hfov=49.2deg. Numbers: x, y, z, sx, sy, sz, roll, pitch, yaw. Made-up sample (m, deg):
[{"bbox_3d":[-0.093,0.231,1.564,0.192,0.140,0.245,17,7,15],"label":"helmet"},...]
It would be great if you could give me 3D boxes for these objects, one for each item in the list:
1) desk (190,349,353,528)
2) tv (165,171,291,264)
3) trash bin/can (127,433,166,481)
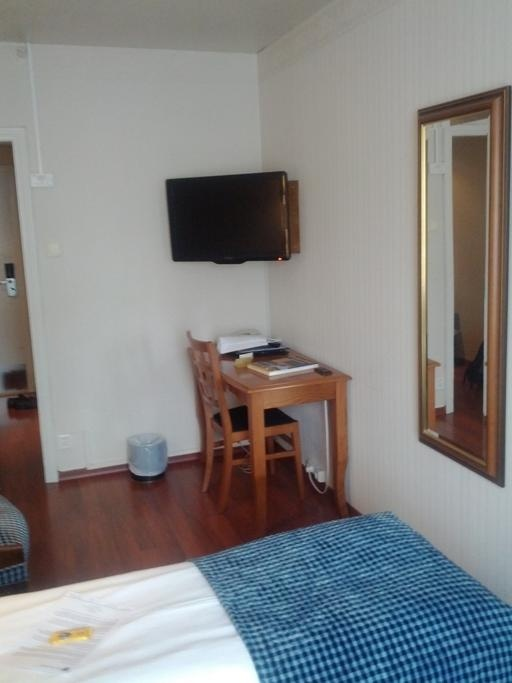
[{"bbox_3d":[0.009,0.266,3.062,0.704,1.092,1.179,-6,12,-23],"label":"desk"},{"bbox_3d":[-0.144,-0.707,3.202,0.498,0.386,0.059,4,18,21],"label":"tv"},{"bbox_3d":[-0.646,0.675,3.327,0.227,0.236,0.235,-1,2,-14],"label":"trash bin/can"}]
